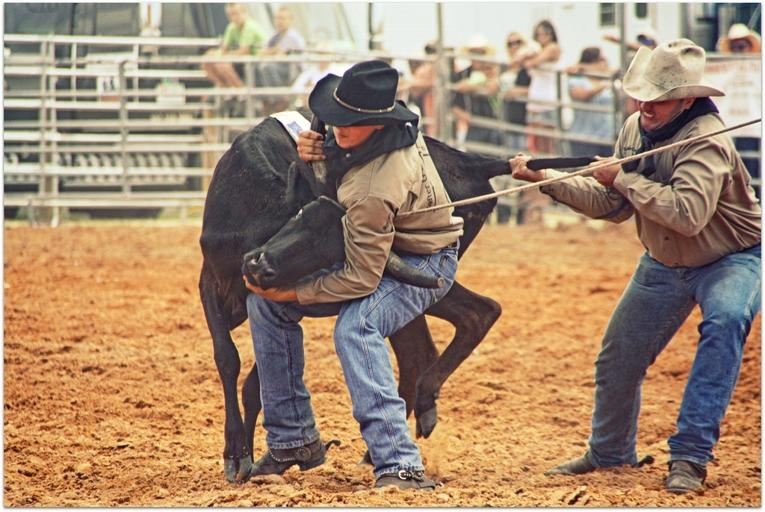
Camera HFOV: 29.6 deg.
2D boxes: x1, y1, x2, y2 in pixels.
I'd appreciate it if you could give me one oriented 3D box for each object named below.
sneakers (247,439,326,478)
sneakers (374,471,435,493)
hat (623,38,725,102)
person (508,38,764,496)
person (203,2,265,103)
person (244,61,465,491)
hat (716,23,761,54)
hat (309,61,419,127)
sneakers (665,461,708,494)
[{"bbox_3d":[-0.714,1.579,11.400,0.683,0.268,0.239,-7,-1,-8],"label":"sneakers"},{"bbox_3d":[0.172,1.709,10.929,0.478,0.173,0.164,0,-6,-13],"label":"sneakers"},{"bbox_3d":[2.227,-1.413,11.056,0.663,0.259,0.501,-9,46,-17],"label":"hat"},{"bbox_3d":[2.180,0.062,11.188,1.503,3.444,0.714,2,8,12],"label":"person"},{"bbox_3d":[-1.761,-2.585,17.702,0.542,1.032,1.088,1,8,5],"label":"person"},{"bbox_3d":[-0.183,0.172,11.036,1.588,3.289,0.806,0,8,1],"label":"person"},{"bbox_3d":[4.311,-2.594,17.274,0.496,0.463,0.120,0,11,15],"label":"hat"},{"bbox_3d":[-0.148,-1.198,10.893,0.684,0.270,0.520,-3,47,-28],"label":"hat"},{"bbox_3d":[2.348,1.697,11.091,0.300,0.240,0.165,2,8,9],"label":"sneakers"}]
